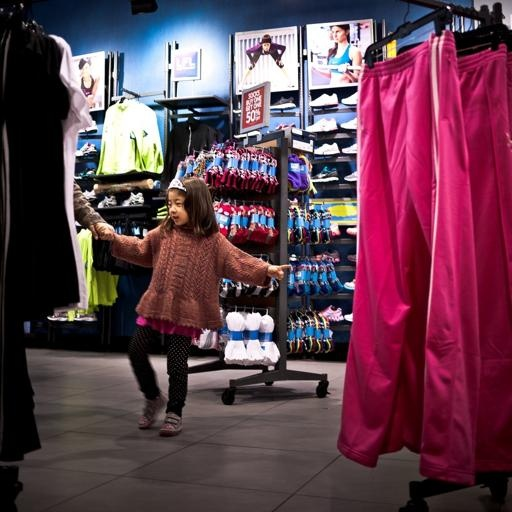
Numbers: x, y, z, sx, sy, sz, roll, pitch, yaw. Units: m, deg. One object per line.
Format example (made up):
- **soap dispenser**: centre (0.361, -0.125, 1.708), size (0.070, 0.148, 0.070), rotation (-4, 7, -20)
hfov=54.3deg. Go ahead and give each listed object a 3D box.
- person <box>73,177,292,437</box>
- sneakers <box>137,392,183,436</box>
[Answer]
- **person**: centre (-0.339, 0.232, 2.561), size (0.812, 1.285, 0.328), rotation (0, -6, 3)
- **sneakers**: centre (-0.475, 0.798, 2.468), size (0.110, 0.140, 0.305), rotation (0, -20, 1)
